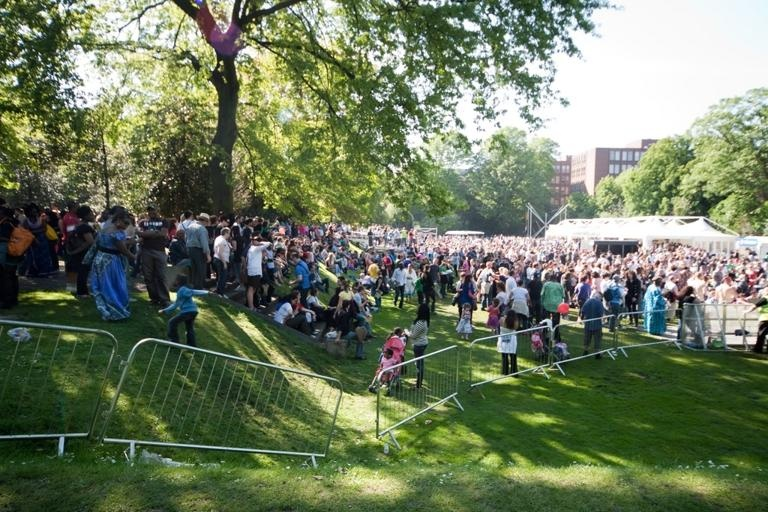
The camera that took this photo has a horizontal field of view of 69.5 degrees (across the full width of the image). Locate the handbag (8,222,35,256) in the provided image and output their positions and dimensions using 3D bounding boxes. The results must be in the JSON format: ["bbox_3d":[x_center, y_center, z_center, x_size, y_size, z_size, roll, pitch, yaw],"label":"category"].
[{"bbox_3d":[-8.955,-0.330,13.604,0.524,0.721,0.264,0,1,-32],"label":"handbag"}]

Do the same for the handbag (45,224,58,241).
[{"bbox_3d":[-10.335,-0.705,17.138,0.250,0.503,0.847,0,1,-25],"label":"handbag"}]

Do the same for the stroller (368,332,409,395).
[{"bbox_3d":[0.112,2.712,13.792,0.718,1.118,1.890,6,13,24],"label":"stroller"}]

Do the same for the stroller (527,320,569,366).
[{"bbox_3d":[5.035,2.733,17.025,0.926,1.653,0.815,-25,30,-37],"label":"stroller"}]
